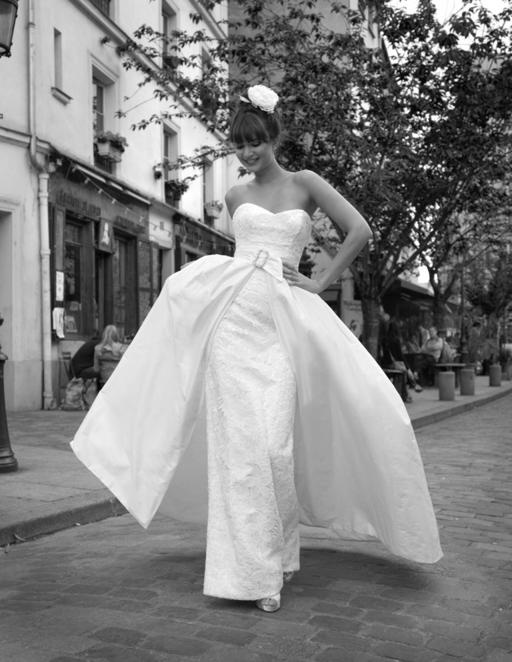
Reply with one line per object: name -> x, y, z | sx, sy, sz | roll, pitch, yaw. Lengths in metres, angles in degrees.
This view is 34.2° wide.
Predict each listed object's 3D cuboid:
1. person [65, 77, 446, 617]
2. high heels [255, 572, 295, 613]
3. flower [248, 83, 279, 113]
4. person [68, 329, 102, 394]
person -> 0.011, 0.125, 3.325 | 1.285, 1.777, 0.684 | 0, 0, -25
high heels -> 0.061, 0.954, 3.026 | 0.116, 0.132, 0.354 | 0, -7, 4
flower -> 0.026, -0.994, 3.457 | 0.114, 0.123, 0.052 | 22, -54, -36
person -> -2.633, 0.596, 12.946 | 0.572, 0.731, 0.604 | 4, 0, 23
